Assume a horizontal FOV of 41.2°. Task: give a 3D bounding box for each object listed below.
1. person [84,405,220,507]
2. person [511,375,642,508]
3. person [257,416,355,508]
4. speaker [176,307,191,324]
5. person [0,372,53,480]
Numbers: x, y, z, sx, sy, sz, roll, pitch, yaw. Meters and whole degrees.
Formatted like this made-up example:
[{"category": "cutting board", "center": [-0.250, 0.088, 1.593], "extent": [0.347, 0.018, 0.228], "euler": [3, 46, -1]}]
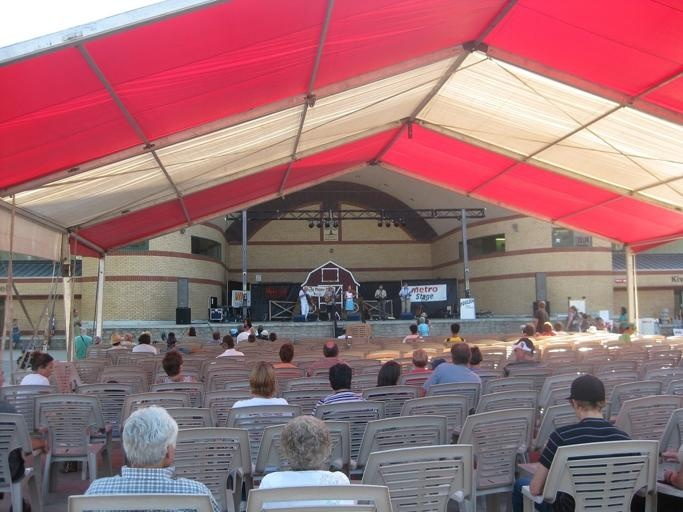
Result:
[{"category": "person", "center": [-2.206, 2.294, 10.329], "extent": [1.360, 1.154, 0.371], "euler": [2, -7, -8]}, {"category": "person", "center": [2.810, 2.344, 11.238], "extent": [1.420, 1.734, 0.705], "euler": [-1, -7, 19]}, {"category": "person", "center": [-0.437, 2.484, 10.854], "extent": [1.366, 1.021, 0.622], "euler": [-1, 4, -8]}, {"category": "speaker", "center": [-5.729, 2.179, 33.070], "extent": [0.636, 0.501, 0.580], "euler": [-2, -3, -20]}, {"category": "person", "center": [-4.433, 2.312, 12.574], "extent": [0.701, 1.428, 1.081], "euler": [3, -7, -16]}]
